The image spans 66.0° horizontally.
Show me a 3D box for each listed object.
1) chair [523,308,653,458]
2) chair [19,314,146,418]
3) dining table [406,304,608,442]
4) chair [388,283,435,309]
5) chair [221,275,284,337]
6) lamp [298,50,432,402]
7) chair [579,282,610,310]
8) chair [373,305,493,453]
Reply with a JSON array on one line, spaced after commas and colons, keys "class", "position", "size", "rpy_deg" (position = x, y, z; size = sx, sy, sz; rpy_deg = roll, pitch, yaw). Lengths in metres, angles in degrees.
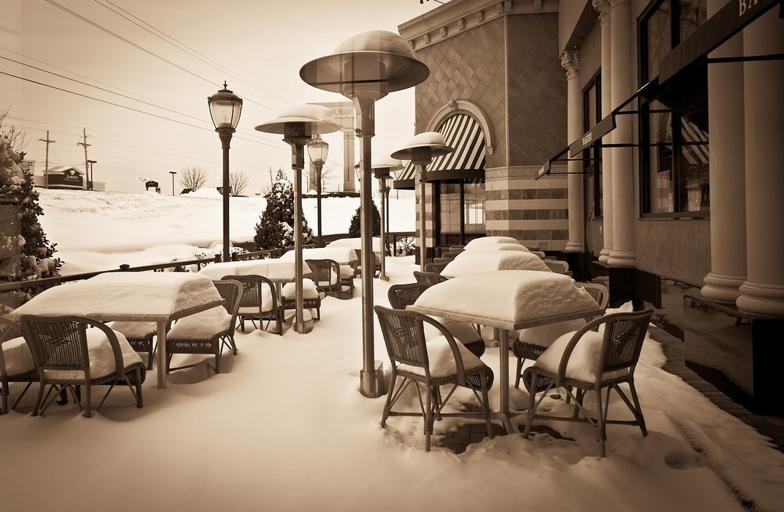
[{"class": "chair", "position": [2.518, 1.479, 7.662], "size": [1.177, 1.818, 1.285], "rpy_deg": [-4, 7, -31]}, {"class": "chair", "position": [-4.313, 1.400, 8.367], "size": [1.177, 1.425, 1.541], "rpy_deg": [0, 6, -3]}, {"class": "dining table", "position": [1.445, 1.282, 7.951], "size": [1.752, 1.850, 1.747], "rpy_deg": [-4, 4, -44]}, {"class": "chair", "position": [0.270, 0.585, 8.885], "size": [0.443, 0.604, 0.407], "rpy_deg": [-3, -2, -38]}, {"class": "chair", "position": [-2.419, 0.819, 11.095], "size": [0.910, 1.358, 0.965], "rpy_deg": [1, 7, 9]}, {"class": "lamp", "position": [-0.366, -0.533, 8.647], "size": [1.656, 4.863, 1.073], "rpy_deg": [-1, 6, -5]}, {"class": "chair", "position": [3.020, 0.576, 9.043], "size": [0.387, 0.447, 0.448], "rpy_deg": [-7, 3, 26]}, {"class": "chair", "position": [0.457, 1.350, 8.231], "size": [1.561, 2.275, 1.550], "rpy_deg": [-3, 4, -33]}]
